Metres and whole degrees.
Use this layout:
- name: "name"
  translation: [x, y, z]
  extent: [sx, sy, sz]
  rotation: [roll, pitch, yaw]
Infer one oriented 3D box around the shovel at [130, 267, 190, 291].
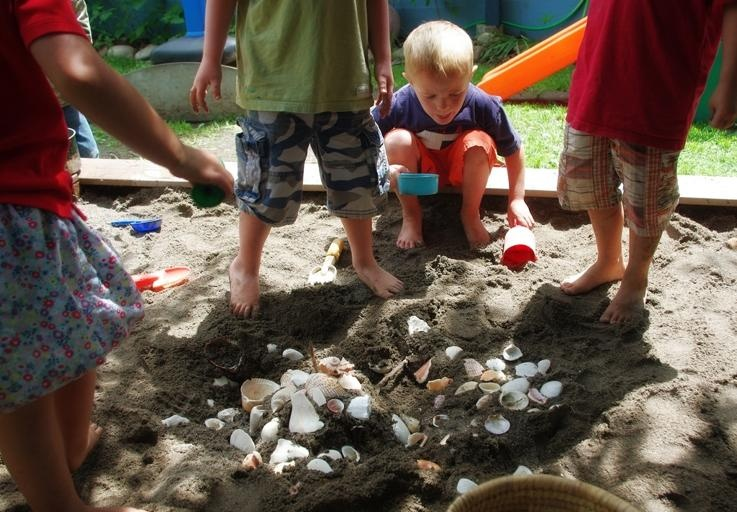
- name: "shovel"
  translation: [-0.994, 0.116, 3.313]
  extent: [0.195, 0.046, 0.126]
  rotation: [-12, 31, -38]
